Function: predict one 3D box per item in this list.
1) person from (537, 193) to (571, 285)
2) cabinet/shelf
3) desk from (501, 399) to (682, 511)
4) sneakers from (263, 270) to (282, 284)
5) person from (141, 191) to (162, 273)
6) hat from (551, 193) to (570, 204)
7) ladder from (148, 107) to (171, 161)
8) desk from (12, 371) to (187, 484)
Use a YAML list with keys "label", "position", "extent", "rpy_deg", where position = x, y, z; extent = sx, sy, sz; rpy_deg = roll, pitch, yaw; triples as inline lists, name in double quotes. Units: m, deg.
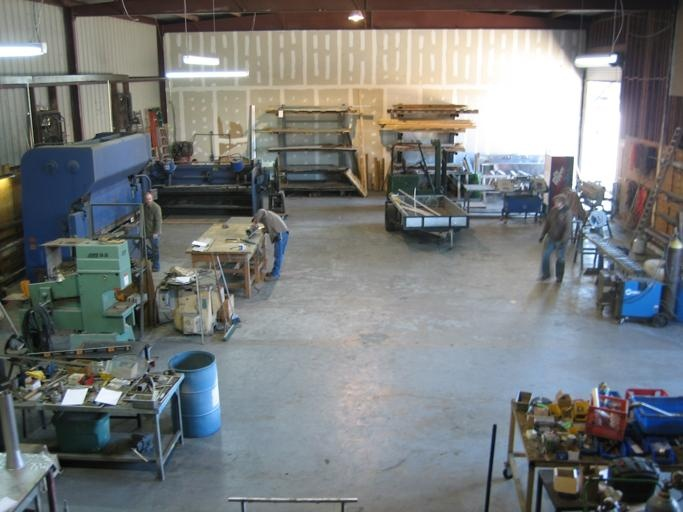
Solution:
- label: "person"
  position: [4.572, -0.400, 11.876]
  extent: [0.504, 1.946, 0.670]
  rpy_deg: [-1, 14, 5]
- label: "cabinet/shelf"
  position: [-1.030, -4.086, 20.866]
  extent: [4.020, 3.697, 1.499]
  rpy_deg: [-1, 10, 1]
- label: "desk"
  position: [2.530, 2.093, 5.995]
  extent: [1.229, 0.874, 1.201]
  rpy_deg: [0, 6, 5]
- label: "sneakers"
  position: [-1.530, 0.445, 12.402]
  extent: [0.384, 0.155, 0.174]
  rpy_deg: [-2, 6, -43]
- label: "person"
  position: [-4.227, -0.582, 12.513]
  extent: [0.367, 1.785, 1.544]
  rpy_deg: [-7, 15, -18]
- label: "hat"
  position: [4.600, -1.216, 11.569]
  extent: [0.270, 0.258, 0.390]
  rpy_deg: [4, 15, 24]
- label: "ladder"
  position: [-6.737, -4.542, 20.362]
  extent: [0.589, 1.832, 1.713]
  rpy_deg: [-6, 14, -13]
- label: "desk"
  position: [-2.834, 2.008, 7.023]
  extent: [1.634, 1.082, 1.032]
  rpy_deg: [-1, 14, 7]
